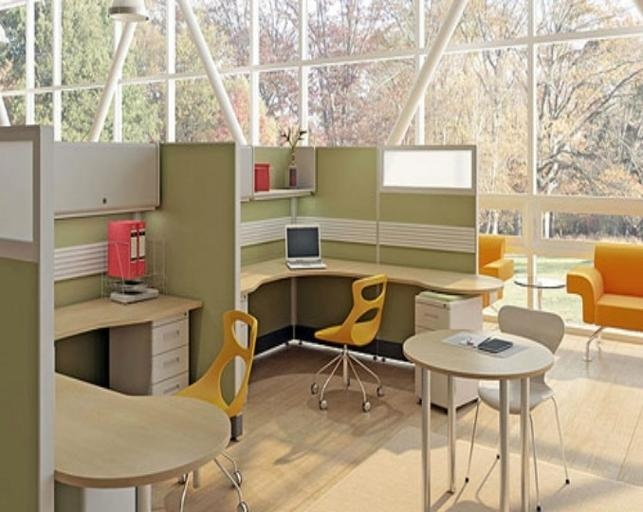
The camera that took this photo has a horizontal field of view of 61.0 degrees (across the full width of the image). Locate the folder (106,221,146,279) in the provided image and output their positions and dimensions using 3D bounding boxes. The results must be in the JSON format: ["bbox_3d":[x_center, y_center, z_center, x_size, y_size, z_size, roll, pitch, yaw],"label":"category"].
[{"bbox_3d":[-1.481,-0.047,4.111,0.277,0.417,0.132,2,10,13],"label":"folder"}]

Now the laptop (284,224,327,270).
[{"bbox_3d":[-0.167,-0.095,5.401,0.356,0.395,0.320,-1,12,-7],"label":"laptop"}]

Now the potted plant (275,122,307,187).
[{"bbox_3d":[-0.298,-1.027,5.810,0.254,0.612,0.308,1,12,-4],"label":"potted plant"}]

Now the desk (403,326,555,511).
[{"bbox_3d":[0.889,0.901,3.392,0.924,1.170,0.926,6,12,34],"label":"desk"}]
